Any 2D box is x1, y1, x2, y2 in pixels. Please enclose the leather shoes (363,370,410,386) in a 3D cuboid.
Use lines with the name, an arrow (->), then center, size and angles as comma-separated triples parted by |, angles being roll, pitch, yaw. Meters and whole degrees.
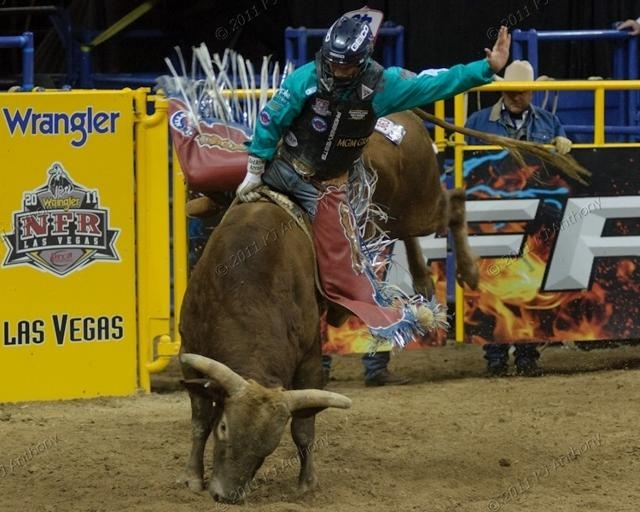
leather shoes -> 0.577, 1.077, 10.515 | 0.451, 0.158, 0.134 | -3, -1, -4

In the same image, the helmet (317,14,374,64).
helmet -> 0.227, -1.497, 8.118 | 0.309, 0.331, 0.357 | 16, 50, 20

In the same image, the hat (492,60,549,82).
hat -> 1.886, -1.734, 11.218 | 0.395, 0.135, 0.404 | 0, -1, 9
